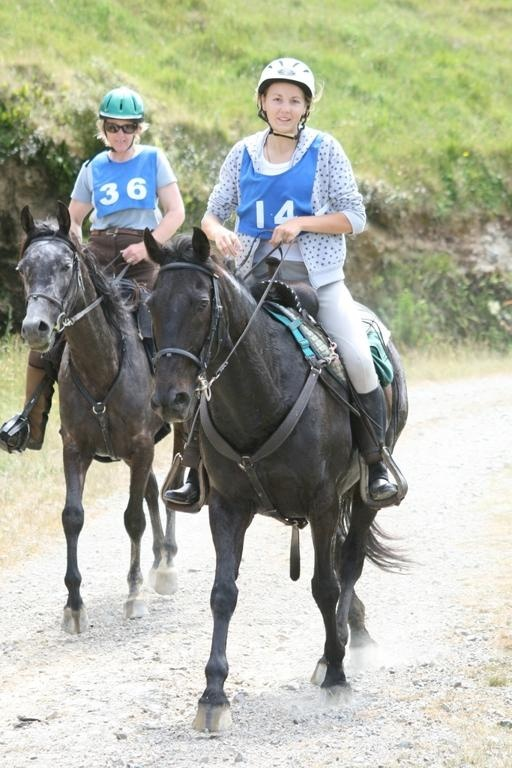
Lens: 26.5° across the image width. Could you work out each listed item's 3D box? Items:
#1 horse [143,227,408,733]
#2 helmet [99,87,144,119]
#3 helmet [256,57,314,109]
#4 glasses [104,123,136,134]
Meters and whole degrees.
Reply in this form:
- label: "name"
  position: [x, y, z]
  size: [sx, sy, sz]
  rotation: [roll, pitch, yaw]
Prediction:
- label: "horse"
  position: [0.207, 0.433, 5.619]
  size: [0.816, 2.433, 2.394]
  rotation: [-2, 6, 19]
- label: "helmet"
  position: [-0.982, -2.021, 7.805]
  size: [0.309, 0.254, 0.280]
  rotation: [-5, 6, -7]
- label: "helmet"
  position: [0.153, -1.618, 5.743]
  size: [0.306, 0.247, 0.292]
  rotation: [-4, 6, 1]
- label: "glasses"
  position: [-0.971, -1.838, 7.802]
  size: [0.122, 0.034, 0.113]
  rotation: [2, -15, -10]
